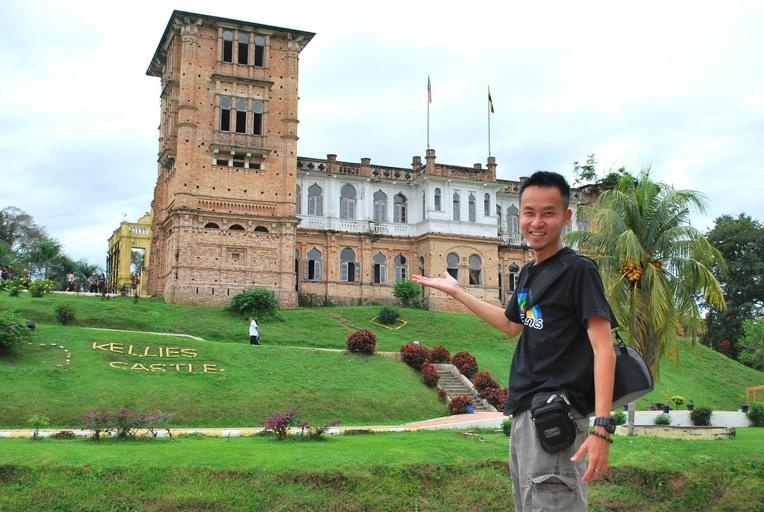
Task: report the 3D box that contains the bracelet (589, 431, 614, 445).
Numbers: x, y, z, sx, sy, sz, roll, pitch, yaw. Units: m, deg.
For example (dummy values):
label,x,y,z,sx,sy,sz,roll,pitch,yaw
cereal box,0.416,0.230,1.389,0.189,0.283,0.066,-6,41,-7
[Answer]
label,x,y,z,sx,sy,sz,roll,pitch,yaw
bracelet,3.587,2.914,13.129,0.308,0.090,0.245,22,-2,9

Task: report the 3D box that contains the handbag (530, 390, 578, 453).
label,x,y,z,sx,sy,sz,roll,pitch,yaw
handbag,2.854,2.688,13.216,0.750,0.907,0.516,-18,6,19
